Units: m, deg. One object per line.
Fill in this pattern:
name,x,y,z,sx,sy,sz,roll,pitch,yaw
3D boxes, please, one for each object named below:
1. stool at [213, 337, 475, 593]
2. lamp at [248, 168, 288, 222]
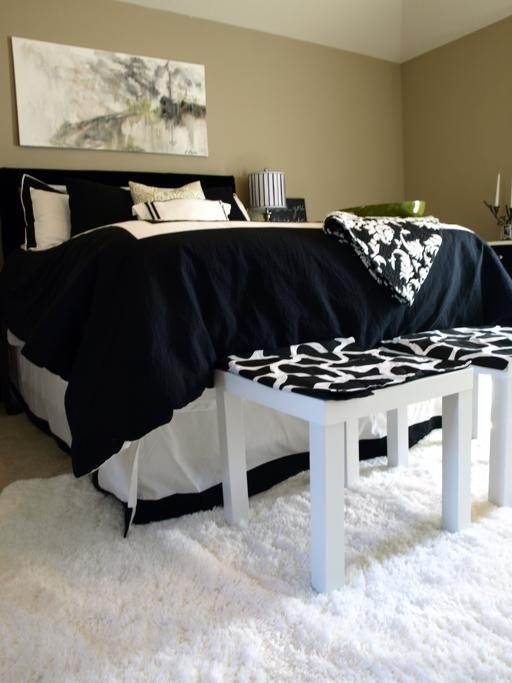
stool,0.181,0.216,1.141,0.473,0.393,0.448,-6,8,-31
lamp,0.075,-1.021,3.673,0.188,0.413,0.209,6,14,28
